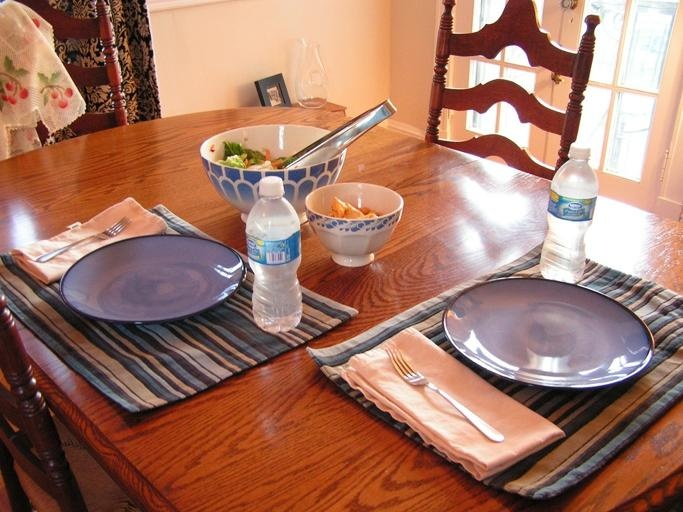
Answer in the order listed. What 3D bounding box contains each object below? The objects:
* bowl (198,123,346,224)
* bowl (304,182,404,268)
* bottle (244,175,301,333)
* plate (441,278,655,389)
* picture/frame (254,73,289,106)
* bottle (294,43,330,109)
[{"bbox_3d":[-0.169,-0.215,1.132,0.305,0.150,0.298,0,27,0],"label":"bowl"},{"bbox_3d":[0.024,-0.042,1.036,0.196,0.130,0.186,2,32,-1],"label":"bowl"},{"bbox_3d":[-0.118,-0.020,0.844,0.095,0.245,0.194,-5,31,-5],"label":"bottle"},{"bbox_3d":[0.322,0.110,0.778,0.292,0.045,0.223,13,33,23],"label":"plate"},{"bbox_3d":[-0.443,-1.034,3.038,0.214,0.203,0.021,-18,19,-36],"label":"picture/frame"},{"bbox_3d":[-0.193,-1.125,3.034,0.221,0.363,0.547,-4,30,-4],"label":"bottle"}]
